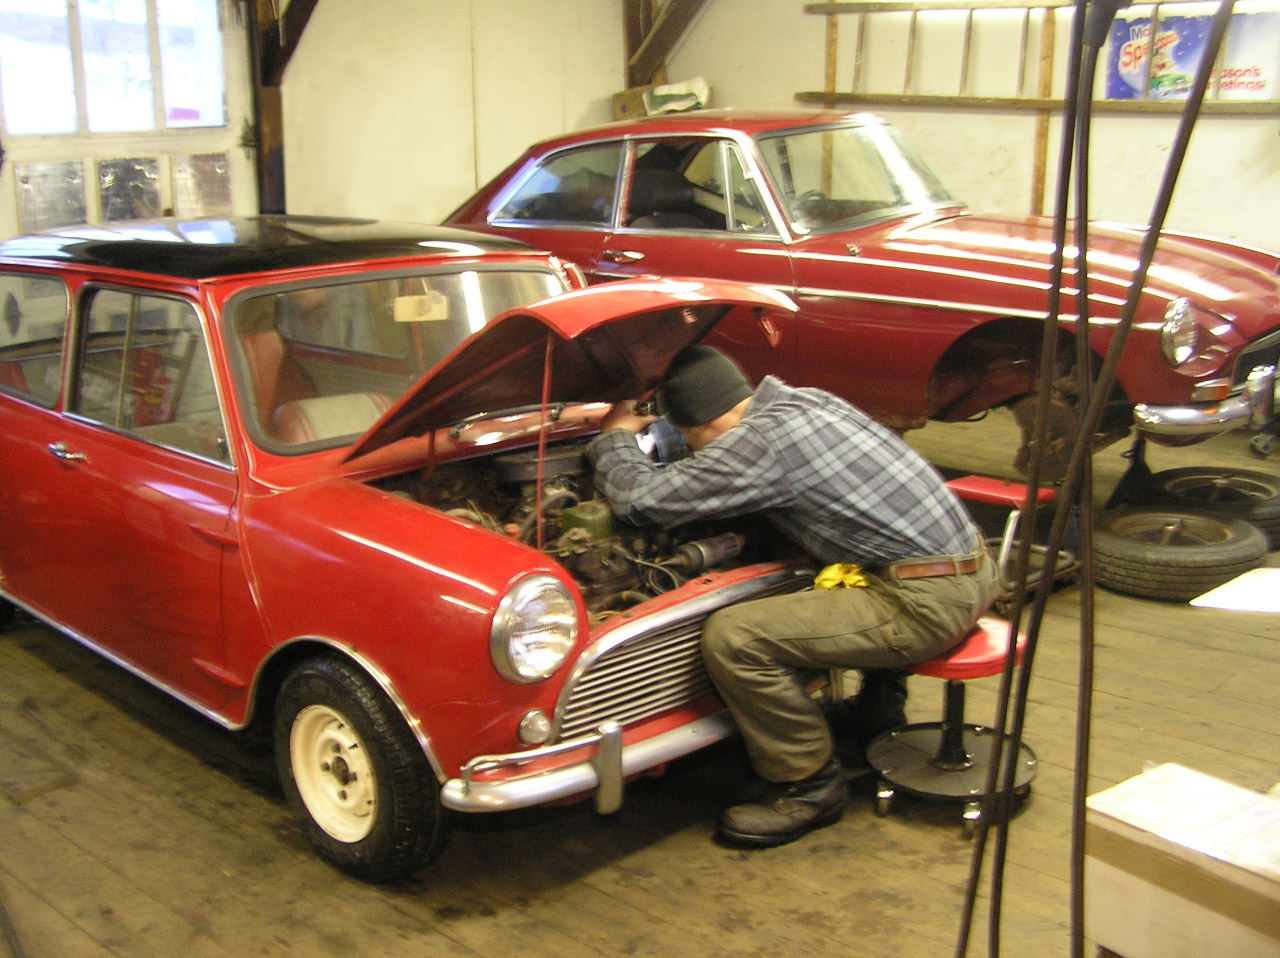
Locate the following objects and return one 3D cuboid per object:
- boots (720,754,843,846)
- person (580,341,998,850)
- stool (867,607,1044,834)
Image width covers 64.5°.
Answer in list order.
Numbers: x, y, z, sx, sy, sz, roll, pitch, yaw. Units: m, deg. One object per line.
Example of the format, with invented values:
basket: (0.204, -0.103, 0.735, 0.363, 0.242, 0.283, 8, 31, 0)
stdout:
boots: (0.393, 0.905, 2.872, 0.407, 0.167, 0.168, -7, 8, -25)
person: (0.441, 0.298, 3.004, 0.918, 1.337, 0.833, -13, 25, -30)
stool: (0.932, 0.728, 3.008, 0.558, 0.369, 0.426, -6, 8, 3)
